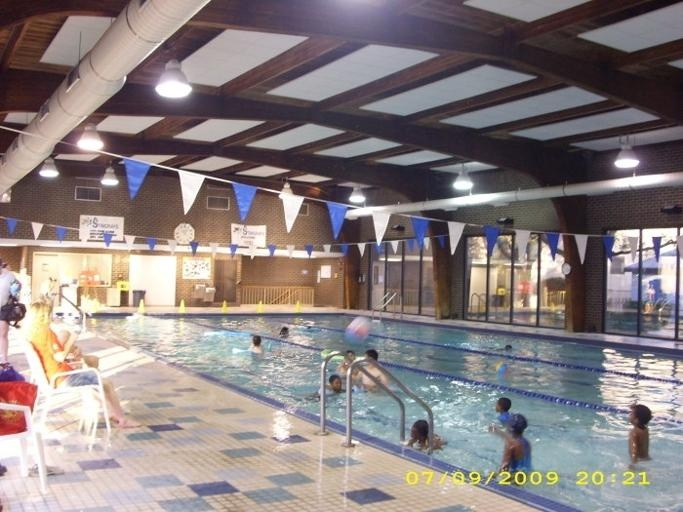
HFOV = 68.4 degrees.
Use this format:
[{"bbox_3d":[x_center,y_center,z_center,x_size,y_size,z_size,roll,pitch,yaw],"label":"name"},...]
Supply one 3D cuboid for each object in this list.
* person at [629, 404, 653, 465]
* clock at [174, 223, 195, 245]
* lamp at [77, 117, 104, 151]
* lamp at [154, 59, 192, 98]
[{"bbox_3d":[3.357,1.989,5.675,0.209,0.687,0.689,3,-4,32],"label":"person"},{"bbox_3d":[-6.536,-0.903,20.893,0.873,0.908,0.338,6,-5,-11],"label":"clock"},{"bbox_3d":[-4.574,-2.238,9.245,0.335,0.643,0.948,8,-5,-25],"label":"lamp"},{"bbox_3d":[-1.949,-2.136,5.825,0.345,0.270,0.293,0,18,-20],"label":"lamp"}]
